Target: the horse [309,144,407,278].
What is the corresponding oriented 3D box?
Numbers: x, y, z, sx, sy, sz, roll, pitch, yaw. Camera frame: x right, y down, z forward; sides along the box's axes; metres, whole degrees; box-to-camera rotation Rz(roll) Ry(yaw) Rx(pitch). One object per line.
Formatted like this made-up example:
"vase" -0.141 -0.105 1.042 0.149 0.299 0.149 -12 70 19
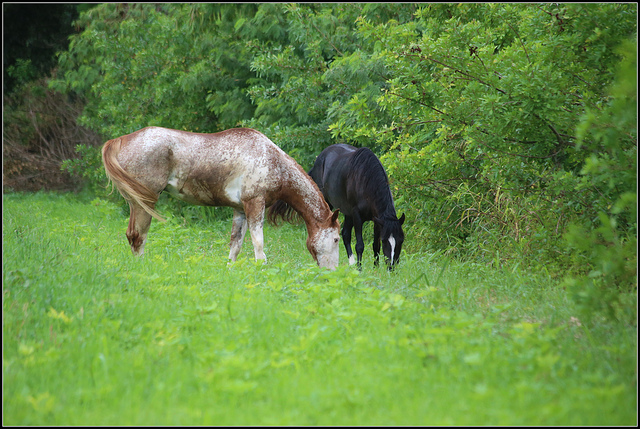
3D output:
"horse" 0.625 -0.059 11.019 0.744 1.885 3.295 -1 13 -18
